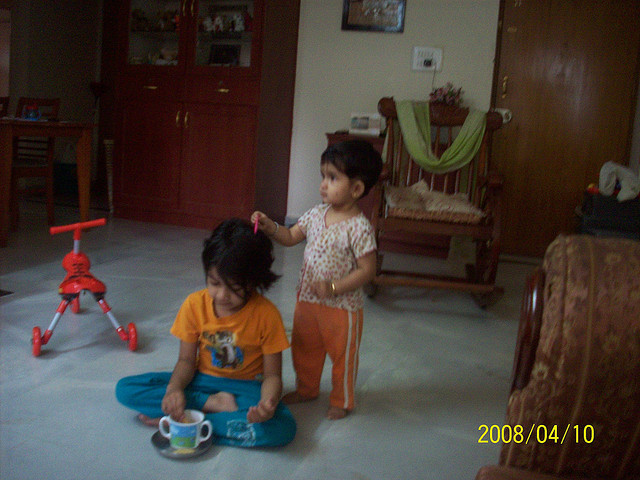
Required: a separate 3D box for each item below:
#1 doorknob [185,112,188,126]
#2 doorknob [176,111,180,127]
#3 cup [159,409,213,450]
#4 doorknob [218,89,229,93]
[{"bbox_3d":[-1.124,-1.016,4.151,0.029,0.093,0.015,6,11,15],"label":"doorknob"},{"bbox_3d":[-1.245,-1.018,4.177,0.022,0.119,0.078,1,-1,7],"label":"doorknob"},{"bbox_3d":[-0.388,0.535,1.409,0.146,0.099,0.085,5,12,5],"label":"cup"},{"bbox_3d":[-0.788,-1.214,4.027,0.089,0.028,0.026,6,13,19],"label":"doorknob"}]
